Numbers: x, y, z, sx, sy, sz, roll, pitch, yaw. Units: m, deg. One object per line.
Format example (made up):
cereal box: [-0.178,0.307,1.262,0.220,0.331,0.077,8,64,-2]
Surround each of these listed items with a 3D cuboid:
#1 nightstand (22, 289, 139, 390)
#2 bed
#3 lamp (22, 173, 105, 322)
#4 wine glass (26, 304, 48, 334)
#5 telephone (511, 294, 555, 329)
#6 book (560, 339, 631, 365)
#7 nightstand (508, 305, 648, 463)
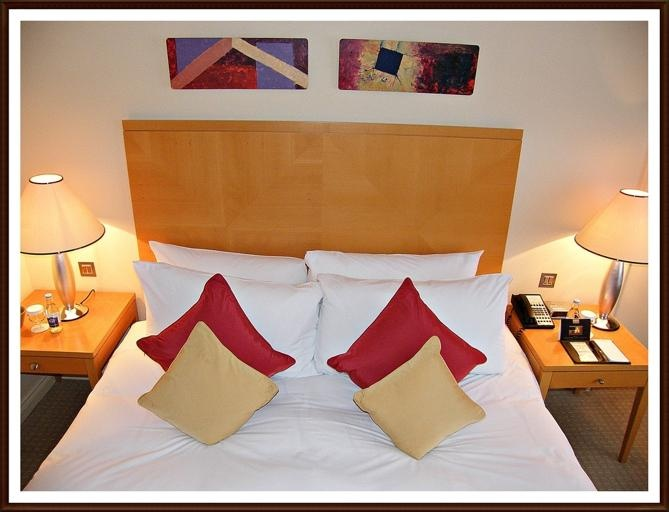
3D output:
nightstand: [-1.449,0.403,2.860,0.580,0.569,0.556,0,43,-6]
bed: [0.007,0.173,2.474,2.357,1.582,1.329,0,16,-3]
lamp: [-1.552,-0.043,2.829,0.403,0.815,0.297,-4,20,-16]
wine glass: [-1.701,0.368,2.778,0.099,0.112,0.097,17,30,30]
telephone: [1.216,0.331,3.000,0.199,0.102,0.269,3,30,2]
book: [1.468,0.538,2.737,0.188,0.028,0.138,1,32,-2]
nightstand: [1.504,0.752,3.096,0.730,0.792,0.762,-1,35,3]
